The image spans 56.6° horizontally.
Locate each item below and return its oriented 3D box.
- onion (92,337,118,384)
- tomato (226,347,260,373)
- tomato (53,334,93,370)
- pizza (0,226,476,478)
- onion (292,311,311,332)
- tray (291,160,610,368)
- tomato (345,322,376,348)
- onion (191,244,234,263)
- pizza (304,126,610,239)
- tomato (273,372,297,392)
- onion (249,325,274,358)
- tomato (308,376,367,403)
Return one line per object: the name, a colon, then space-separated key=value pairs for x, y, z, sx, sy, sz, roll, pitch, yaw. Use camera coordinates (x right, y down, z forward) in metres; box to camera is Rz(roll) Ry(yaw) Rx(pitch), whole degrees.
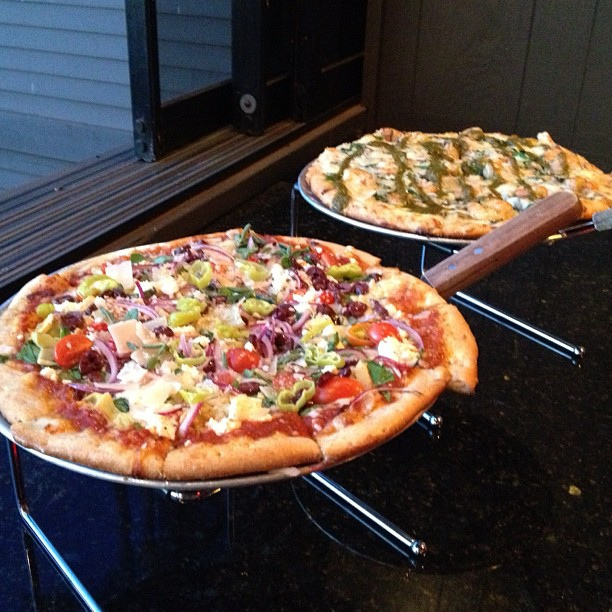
onion: x=-0.262 y=0.072 z=0.770 sx=0.012 sy=0.053 sz=0.038 roll=-15 pitch=-3 yaw=-30
tomato: x=-0.088 y=0.074 z=0.787 sx=0.045 sy=0.017 sz=0.038 roll=0 pitch=36 yaw=-7
tomato: x=-0.313 y=0.059 z=0.771 sx=0.044 sy=0.014 sz=0.046 roll=-35 pitch=65 yaw=-28
pizza: x=-0.124 y=0.109 z=0.813 sx=0.479 sy=0.078 sz=0.417 roll=-4 pitch=33 yaw=-15
onion: x=-0.007 y=0.022 z=0.869 sx=0.030 sy=0.022 sz=0.012 roll=-44 pitch=68 yaw=6
tray: x=0.251 y=-0.093 z=1.321 sx=0.740 sy=0.271 sz=0.417 roll=32 pitch=45 yaw=31
tomato: x=0.080 y=0.043 z=0.859 sx=0.038 sy=0.018 sz=0.035 roll=3 pitch=39 yaw=-7
onion: x=-0.170 y=-0.104 z=1.035 sx=0.055 sy=0.012 sz=0.034 roll=27 pitch=36 yaw=-4
pizza: x=0.378 y=-0.346 z=1.531 sx=0.603 sy=0.071 sz=0.473 roll=6 pitch=32 yaw=12
tomato: x=-0.028 y=0.099 z=0.764 sx=0.032 sy=0.013 sz=0.045 roll=1 pitch=36 yaw=-6
onion: x=-0.065 y=0.051 z=0.833 sx=0.011 sy=0.038 sz=0.038 roll=-16 pitch=55 yaw=7
tomato: x=0.040 y=0.111 z=0.762 sx=0.067 sy=0.034 sz=0.041 roll=-3 pitch=31 yaw=-4
